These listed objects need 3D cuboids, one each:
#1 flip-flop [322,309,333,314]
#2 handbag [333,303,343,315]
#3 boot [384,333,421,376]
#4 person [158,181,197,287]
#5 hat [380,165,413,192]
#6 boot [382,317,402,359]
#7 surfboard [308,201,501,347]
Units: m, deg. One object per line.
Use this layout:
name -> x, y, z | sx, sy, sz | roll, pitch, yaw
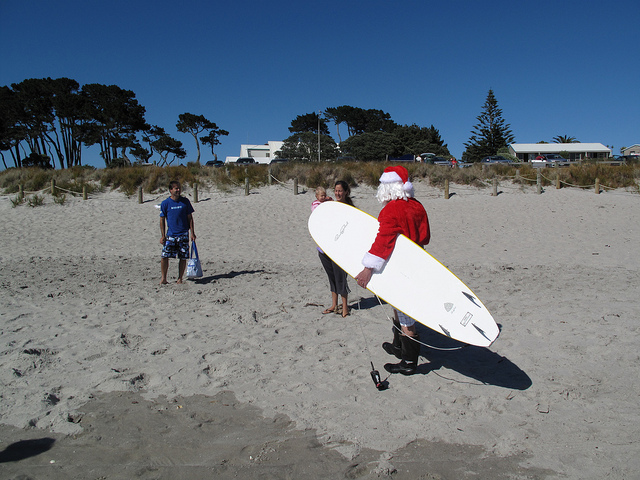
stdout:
flip-flop -> 0.096, 0.945, 6.712 | 0.141, 0.042, 0.056 | 3, -1, -15
handbag -> 0.225, 0.916, 6.718 | 0.104, 0.132, 0.328 | -1, -5, 18
boot -> 0.820, 1.164, 5.214 | 0.343, 0.460, 0.174 | 4, 24, 21
person -> -2.347, -0.183, 8.374 | 0.577, 1.597, 1.530 | 0, 7, -18
hat -> 0.753, -0.618, 5.011 | 0.288, 0.179, 0.222 | 11, 3, 15
boot -> 0.793, 1.033, 5.316 | 0.280, 0.359, 0.129 | 22, 21, 26
surfboard -> 0.744, 0.288, 5.077 | 2.048, 1.185, 0.651 | 8, 9, 35
